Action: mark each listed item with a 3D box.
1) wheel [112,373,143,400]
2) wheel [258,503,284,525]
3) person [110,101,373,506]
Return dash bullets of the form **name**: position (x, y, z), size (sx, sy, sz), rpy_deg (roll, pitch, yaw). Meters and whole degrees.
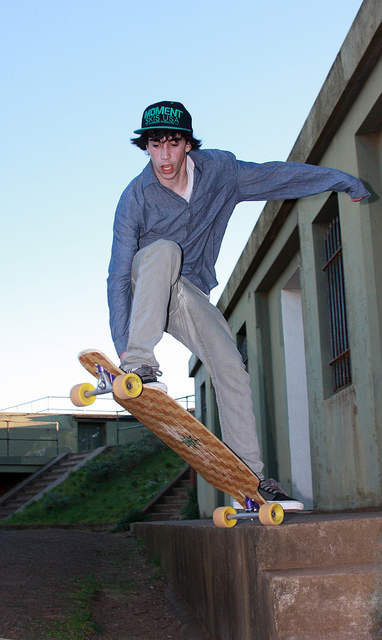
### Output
- **wheel**: position (-0.297, 0.315, 2.859), size (0.089, 0.120, 0.122), rpy_deg (-5, -16, 26)
- **wheel**: position (0.338, 0.838, 2.593), size (0.100, 0.084, 0.151), rpy_deg (-6, -12, 6)
- **person**: position (0.170, -0.173, 3.587), size (1.434, 2.357, 1.074), rpy_deg (16, -33, -30)
